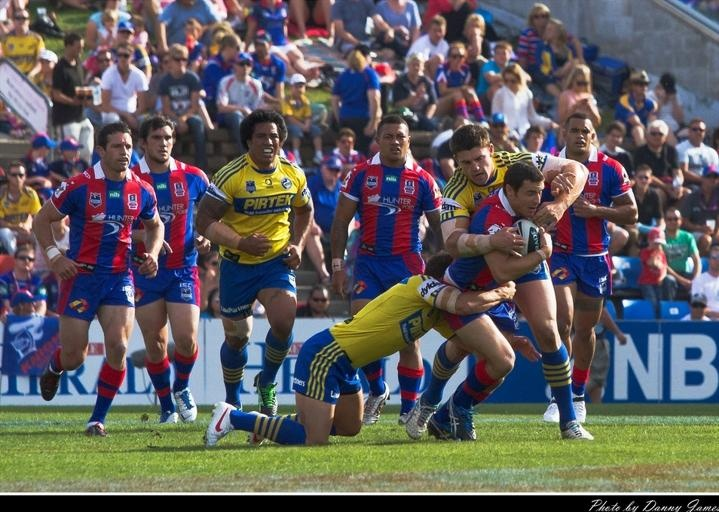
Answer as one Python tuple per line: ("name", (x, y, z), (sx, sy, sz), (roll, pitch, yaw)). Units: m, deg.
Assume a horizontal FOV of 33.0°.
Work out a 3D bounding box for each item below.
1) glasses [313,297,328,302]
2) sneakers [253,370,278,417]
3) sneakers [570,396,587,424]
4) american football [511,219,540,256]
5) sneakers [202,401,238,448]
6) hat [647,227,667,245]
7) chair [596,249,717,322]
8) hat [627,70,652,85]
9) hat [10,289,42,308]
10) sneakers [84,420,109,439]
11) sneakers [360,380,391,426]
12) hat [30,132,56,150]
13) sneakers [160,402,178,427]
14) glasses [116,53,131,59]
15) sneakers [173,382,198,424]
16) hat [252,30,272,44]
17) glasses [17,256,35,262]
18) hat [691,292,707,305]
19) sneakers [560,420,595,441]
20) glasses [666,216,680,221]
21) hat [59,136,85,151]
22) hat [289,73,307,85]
("glasses", (-0.491, 0.627, 16.851), (0.111, 0.088, 0.229), (-2, -9, 38))
("sneakers", (-1.003, 1.647, 14.002), (0.197, 0.297, 0.651), (-3, 25, -3))
("sneakers", (2.561, 1.792, 14.171), (0.152, 0.208, 0.471), (-2, 14, 5))
("american football", (1.676, -0.159, 12.384), (0.239, 0.337, 0.293), (5, -11, -2))
("sneakers", (-1.421, 1.811, 12.594), (0.261, 0.596, 0.200), (16, 36, -13))
("hat", (4.395, -0.278, 18.097), (0.191, 0.155, 0.282), (3, 9, -7))
("chair", (4.267, 0.375, 17.818), (1.127, 1.332, 1.065), (3, -10, -10))
("hat", (5.108, -3.235, 22.279), (0.492, 0.180, 0.523), (-5, 8, -32))
("hat", (-4.499, 0.583, 16.493), (0.317, 0.191, 0.211), (-7, 9, -11))
("sneakers", (-2.891, 1.936, 13.509), (0.231, 0.161, 0.311), (5, -7, -12))
("sneakers", (0.170, 1.744, 14.351), (0.194, 0.563, 0.261), (23, -2, 19))
("hat", (-4.735, -1.703, 18.425), (0.342, 0.228, 0.221), (6, -7, -17))
("sneakers", (-2.222, 1.924, 14.429), (0.110, 0.166, 0.329), (0, -12, -34))
("glasses", (-3.704, -3.136, 19.293), (0.199, 0.088, 0.198), (5, -7, -12))
("sneakers", (-2.071, 1.751, 14.634), (0.235, 0.233, 0.668), (-14, 32, -15))
("hat", (-1.683, -3.889, 21.729), (0.292, 0.272, 0.440), (-5, 7, -31))
("glasses", (-4.618, 0.065, 16.936), (0.243, 0.085, 0.151), (7, -7, -25))
("hat", (4.788, 0.646, 17.221), (0.213, 0.221, 0.280), (2, -7, 13))
("sneakers", (2.308, 1.893, 12.869), (0.315, 0.139, 0.168), (13, 36, 33))
("glasses", (4.740, -0.537, 18.487), (0.099, 0.074, 0.095), (0, -1, -23))
("hat", (-4.364, -1.686, 18.518), (0.260, 0.143, 0.185), (-2, 23, -12))
("hat", (-0.988, -2.872, 20.001), (0.209, 0.268, 0.368), (3, -7, 1))
